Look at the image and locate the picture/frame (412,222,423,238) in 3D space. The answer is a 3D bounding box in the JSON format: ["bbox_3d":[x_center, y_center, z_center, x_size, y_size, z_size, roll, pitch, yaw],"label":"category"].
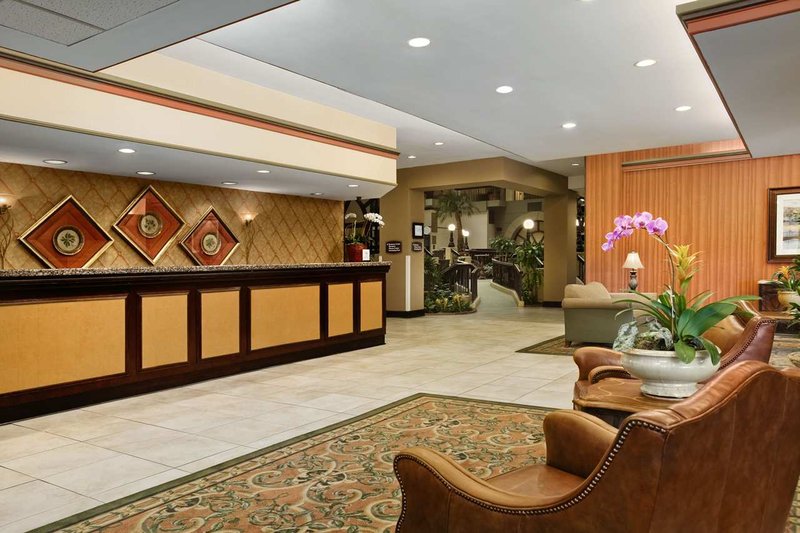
[{"bbox_3d":[0.431,-0.902,11.963,0.047,0.389,0.472,-3,-3,43],"label":"picture/frame"}]

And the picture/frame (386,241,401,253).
[{"bbox_3d":[-0.138,-0.472,11.805,0.334,0.294,0.047,-1,1,25],"label":"picture/frame"}]

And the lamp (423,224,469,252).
[{"bbox_3d":[2.499,-1.550,25.244,2.221,1.348,3.491,0,1,6],"label":"lamp"}]

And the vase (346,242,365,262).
[{"bbox_3d":[-0.815,-0.260,8.771,0.379,0.251,0.352,1,-3,-4],"label":"vase"}]
